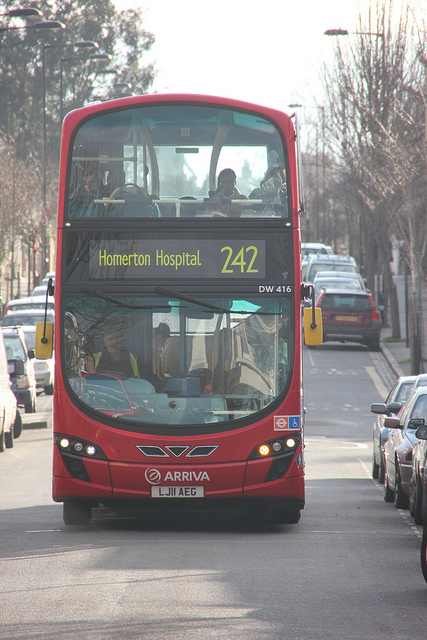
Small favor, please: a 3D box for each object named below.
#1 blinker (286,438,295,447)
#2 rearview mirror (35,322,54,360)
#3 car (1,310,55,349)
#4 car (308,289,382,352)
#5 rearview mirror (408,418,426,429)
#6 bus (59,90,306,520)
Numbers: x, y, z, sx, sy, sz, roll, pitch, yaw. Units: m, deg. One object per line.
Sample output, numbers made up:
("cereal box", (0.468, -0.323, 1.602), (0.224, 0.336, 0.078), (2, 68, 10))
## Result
("blinker", (0.681, 1.080, 8.781), (0.066, 0.072, 0.016), (-4, 3, -16))
("rearview mirror", (-1.603, 0.190, 9.466), (0.167, 0.366, 0.461), (-1, 5, -11))
("car", (-4.311, 0.198, 22.683), (0.922, 0.897, 1.659), (-1, -4, -3))
("car", (4.792, 0.530, 36.379), (2.603, 2.275, 4.719), (1, -13, 13))
("rearview mirror", (2.283, 1.163, 11.254), (0.162, 0.116, 0.170), (2, -1, 2))
("bus", (-0.306, -0.262, 9.242), (2.203, 3.832, 1.540), (-1, 5, -4))
